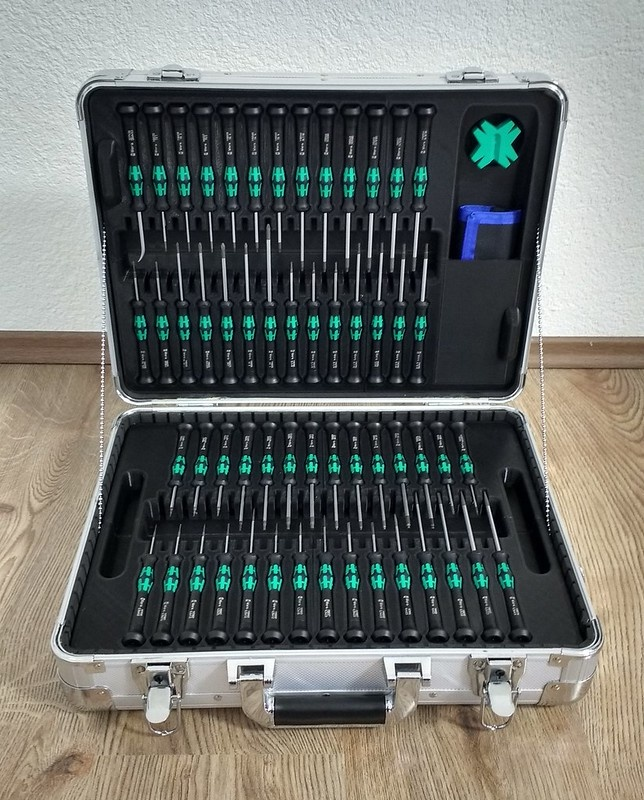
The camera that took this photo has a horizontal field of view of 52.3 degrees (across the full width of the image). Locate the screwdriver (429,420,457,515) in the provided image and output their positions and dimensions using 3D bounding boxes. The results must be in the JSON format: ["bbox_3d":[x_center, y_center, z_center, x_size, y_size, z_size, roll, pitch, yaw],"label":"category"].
[{"bbox_3d":[0.282,0.157,1.492,0.044,0.043,0.247,-10,54,7],"label":"screwdriver"}]
